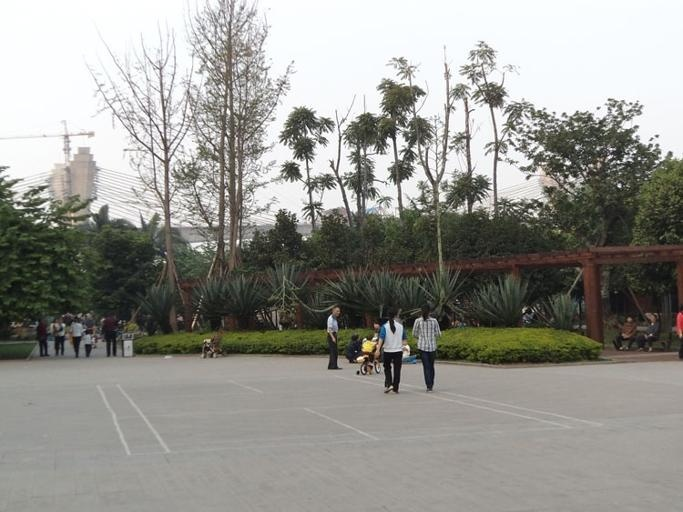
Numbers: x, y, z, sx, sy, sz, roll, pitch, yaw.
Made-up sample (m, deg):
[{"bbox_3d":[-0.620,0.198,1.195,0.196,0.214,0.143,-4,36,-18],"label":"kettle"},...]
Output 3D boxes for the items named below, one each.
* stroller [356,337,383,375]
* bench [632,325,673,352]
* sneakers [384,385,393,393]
[{"bbox_3d":[0.759,2.955,20.610,0.584,0.804,1.248,0,1,16],"label":"stroller"},{"bbox_3d":[13.299,3.309,29.442,1.241,1.135,6.712,-2,-2,26],"label":"bench"},{"bbox_3d":[1.070,2.973,15.628,0.196,0.155,0.334,-2,-2,-1],"label":"sneakers"}]
